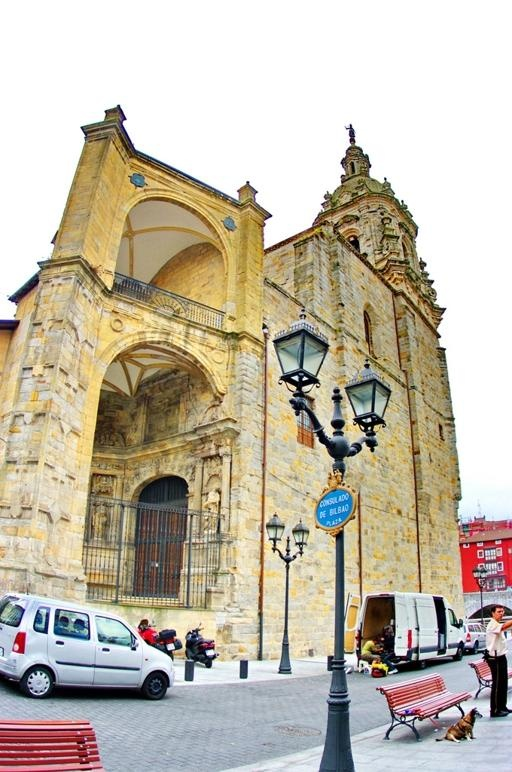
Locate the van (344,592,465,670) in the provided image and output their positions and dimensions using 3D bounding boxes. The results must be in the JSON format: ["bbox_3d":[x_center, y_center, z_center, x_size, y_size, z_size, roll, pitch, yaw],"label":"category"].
[{"bbox_3d":[3.806,6.221,14.647,1.995,2.056,4.436,-20,-31,39],"label":"van"}]

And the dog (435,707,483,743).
[{"bbox_3d":[2.033,3.391,5.815,0.396,0.325,0.390,0,-19,2],"label":"dog"}]

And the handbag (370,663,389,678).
[{"bbox_3d":[2.553,5.933,12.069,0.361,0.156,0.280,7,-12,-3],"label":"handbag"}]
